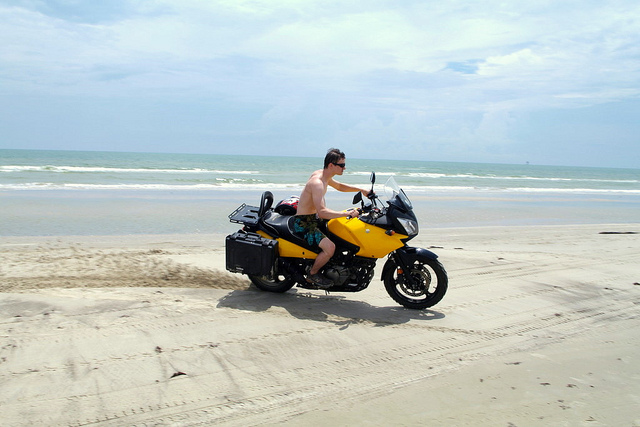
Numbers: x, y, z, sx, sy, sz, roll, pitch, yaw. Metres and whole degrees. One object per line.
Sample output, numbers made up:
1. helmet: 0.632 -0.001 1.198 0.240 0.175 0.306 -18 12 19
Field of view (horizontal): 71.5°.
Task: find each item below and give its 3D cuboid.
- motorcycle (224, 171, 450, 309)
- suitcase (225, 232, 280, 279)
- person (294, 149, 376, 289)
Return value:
1. motorcycle: 0.356 0.551 6.873 3.486 1.191 1.179 5 3 24
2. suitcase: -0.978 0.654 6.934 0.949 0.521 0.446 7 18 33
3. person: 0.124 0.088 6.787 1.053 2.085 0.882 3 10 2
